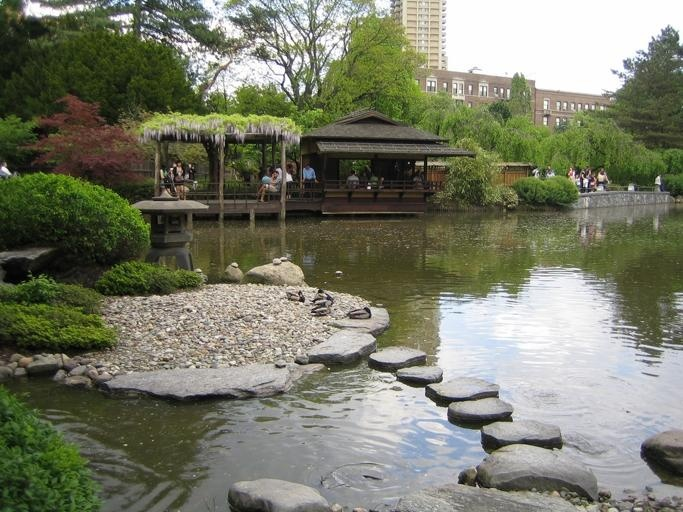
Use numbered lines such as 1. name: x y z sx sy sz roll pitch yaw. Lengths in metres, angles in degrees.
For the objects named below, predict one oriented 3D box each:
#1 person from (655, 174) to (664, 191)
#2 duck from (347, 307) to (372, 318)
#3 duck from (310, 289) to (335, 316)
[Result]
1. person: 29.554 -6.701 55.104 0.827 1.415 2.511 10 15 27
2. duck: 0.347 1.024 10.508 0.474 0.142 0.359 -1 14 -16
3. duck: -0.371 0.847 10.794 0.300 0.153 0.439 11 32 26
